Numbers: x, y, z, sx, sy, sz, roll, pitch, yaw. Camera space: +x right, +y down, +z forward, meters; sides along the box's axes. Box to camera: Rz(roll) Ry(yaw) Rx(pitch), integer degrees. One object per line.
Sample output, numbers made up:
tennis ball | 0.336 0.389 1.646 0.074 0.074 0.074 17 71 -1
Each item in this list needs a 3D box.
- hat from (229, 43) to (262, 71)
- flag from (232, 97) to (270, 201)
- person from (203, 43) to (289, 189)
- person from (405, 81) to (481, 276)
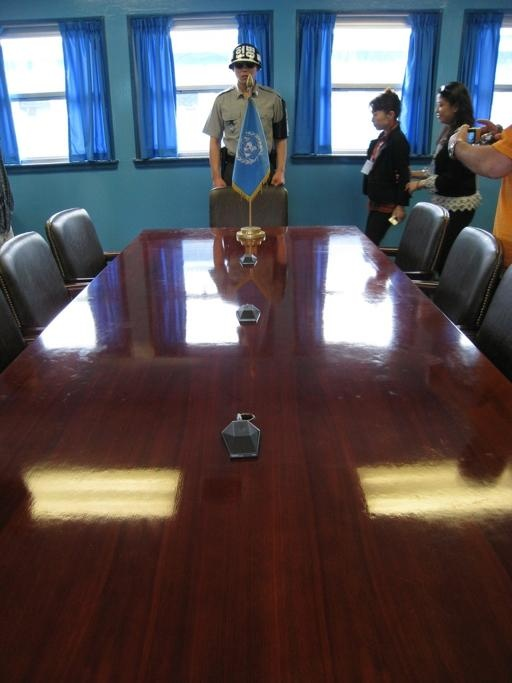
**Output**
hat | -0.080 -1.910 3.184 0.155 0.147 0.254 1 27 0
flag | -0.029 -0.895 2.192 0.178 0.050 0.642 -5 69 6
person | -0.100 -1.587 3.755 0.627 1.612 0.471 -2 57 -2
person | 1.272 -0.951 3.204 0.375 1.495 0.416 -32 39 -32
